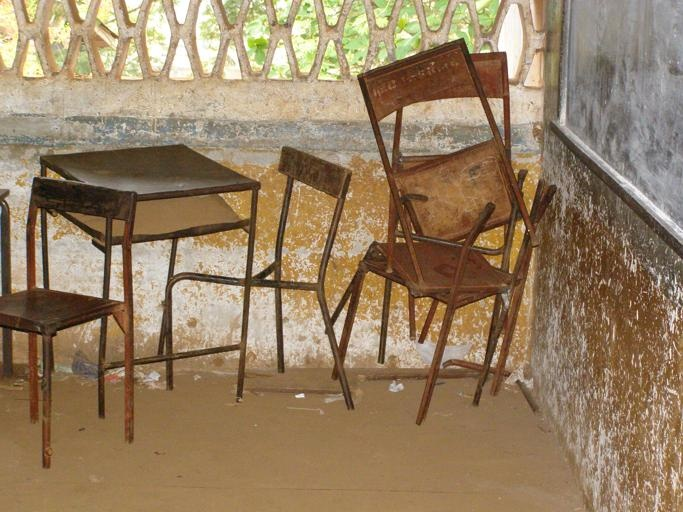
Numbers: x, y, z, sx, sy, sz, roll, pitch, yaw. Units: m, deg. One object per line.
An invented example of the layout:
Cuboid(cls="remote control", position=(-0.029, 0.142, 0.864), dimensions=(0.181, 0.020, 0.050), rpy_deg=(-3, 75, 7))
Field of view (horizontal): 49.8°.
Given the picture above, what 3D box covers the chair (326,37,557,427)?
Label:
Cuboid(cls="chair", position=(0.499, -0.111, 3.660), dimensions=(1.041, 1.842, 0.685), rpy_deg=(3, 18, -1))
